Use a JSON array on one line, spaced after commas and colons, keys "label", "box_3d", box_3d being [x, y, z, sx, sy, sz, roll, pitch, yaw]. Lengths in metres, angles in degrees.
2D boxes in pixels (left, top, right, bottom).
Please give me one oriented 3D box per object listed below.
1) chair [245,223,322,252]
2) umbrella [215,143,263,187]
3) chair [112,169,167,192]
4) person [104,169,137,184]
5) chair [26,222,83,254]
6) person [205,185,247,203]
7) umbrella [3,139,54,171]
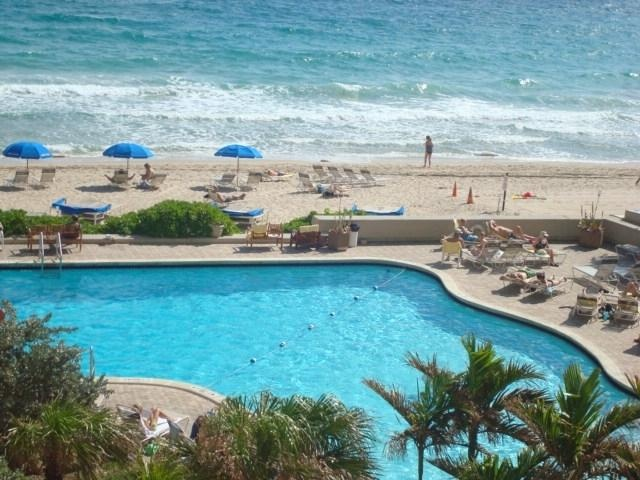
[{"label": "chair", "box_3d": [-1.117, -0.173, 19.985, 2.230, 0.700, 1.033, -1, 13, -3]}, {"label": "umbrella", "box_3d": [-3.361, -3.107, 26.921, 1.928, 1.883, 1.868, -1, -3, 18]}, {"label": "chair", "box_3d": [-7.248, -2.392, 26.430, 2.153, 0.676, 0.978, 1, 13, 5]}, {"label": "person", "box_3d": [-8.123, -2.533, 26.846, 0.862, 0.684, 1.349, -1, 15, -27]}, {"label": "chair", "box_3d": [-7.461, -0.112, 18.642, 1.432, 0.744, 0.602, -4, 14, -15]}, {"label": "person", "box_3d": [-3.459, -1.618, 24.626, 1.142, 0.351, 0.792, -6, 19, -21]}, {"label": "umbrella", "box_3d": [-11.436, -3.479, 26.343, 1.500, 1.125, 1.423, 3, 8, 0]}]
